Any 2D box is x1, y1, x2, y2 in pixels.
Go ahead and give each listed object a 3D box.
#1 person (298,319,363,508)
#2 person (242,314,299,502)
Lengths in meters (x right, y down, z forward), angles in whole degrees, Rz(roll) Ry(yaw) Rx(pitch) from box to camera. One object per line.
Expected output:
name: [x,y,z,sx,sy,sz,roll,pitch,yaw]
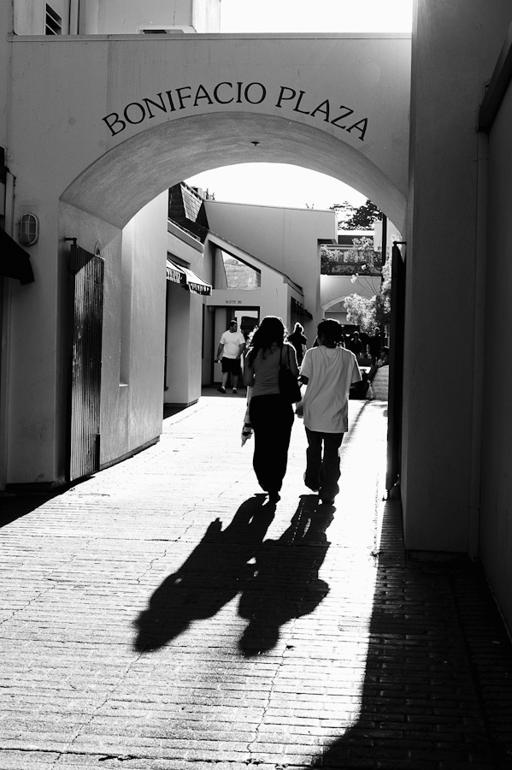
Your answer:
person: [0.648,0.231,7.212,0.551,1.646,0.507,1,1,3]
person: [0.141,0.213,7.290,0.491,1.672,0.358,1,1,-3]
